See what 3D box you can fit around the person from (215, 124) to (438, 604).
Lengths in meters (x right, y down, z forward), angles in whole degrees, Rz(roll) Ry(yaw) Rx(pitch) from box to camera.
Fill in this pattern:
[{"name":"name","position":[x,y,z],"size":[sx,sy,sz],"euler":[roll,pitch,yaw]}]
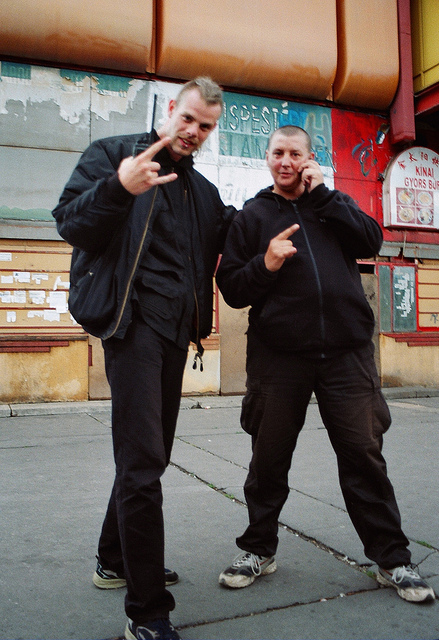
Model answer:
[{"name":"person","position":[0.406,0.128,2.657],"size":[0.870,1.926,0.515],"euler":[2,4,13]}]

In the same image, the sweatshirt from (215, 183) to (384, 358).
[{"name":"sweatshirt","position":[0.302,-0.209,2.659],"size":[0.698,0.727,0.441],"euler":[2,4,13]}]

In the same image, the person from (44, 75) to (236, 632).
[{"name":"person","position":[-0.297,0.040,2.335],"size":[0.562,1.908,0.778],"euler":[1,4,4]}]
